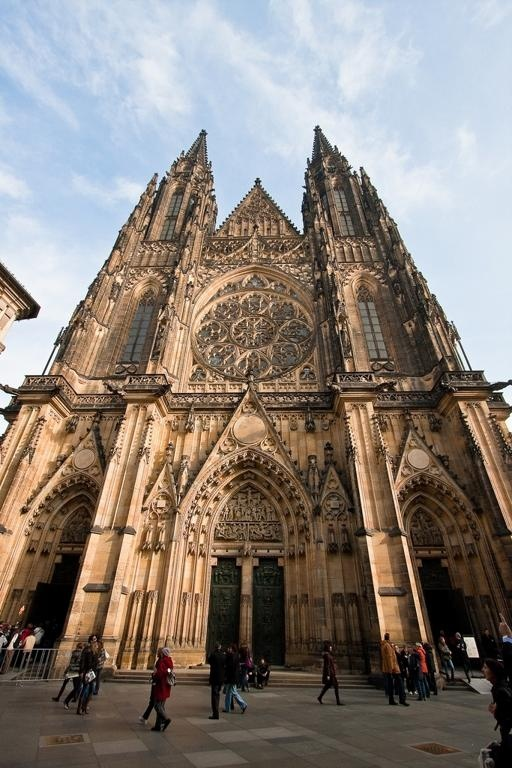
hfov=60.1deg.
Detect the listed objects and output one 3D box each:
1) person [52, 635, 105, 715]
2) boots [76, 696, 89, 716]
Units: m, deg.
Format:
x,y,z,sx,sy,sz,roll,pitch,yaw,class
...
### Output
x,y,z,sx,sy,sz,roll,pitch,yaw,class
-2.986,4.888,7.493,0.527,1.063,1.331,9,-29,-17,person
-2.798,4.973,6.956,0.170,0.343,0.364,8,-30,-16,boots
